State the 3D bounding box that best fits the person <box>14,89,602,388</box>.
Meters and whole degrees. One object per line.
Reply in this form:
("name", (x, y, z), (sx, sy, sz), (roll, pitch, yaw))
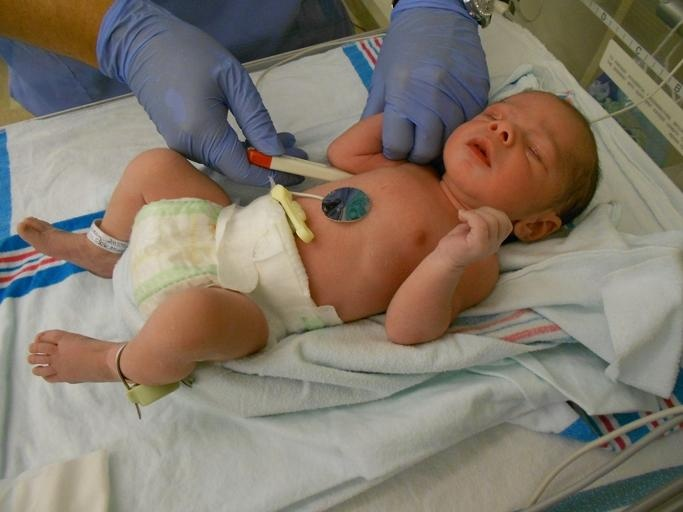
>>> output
("person", (-0.069, 0.008, 1.931), (1.655, 0.670, 0.850), (-11, 65, -13))
